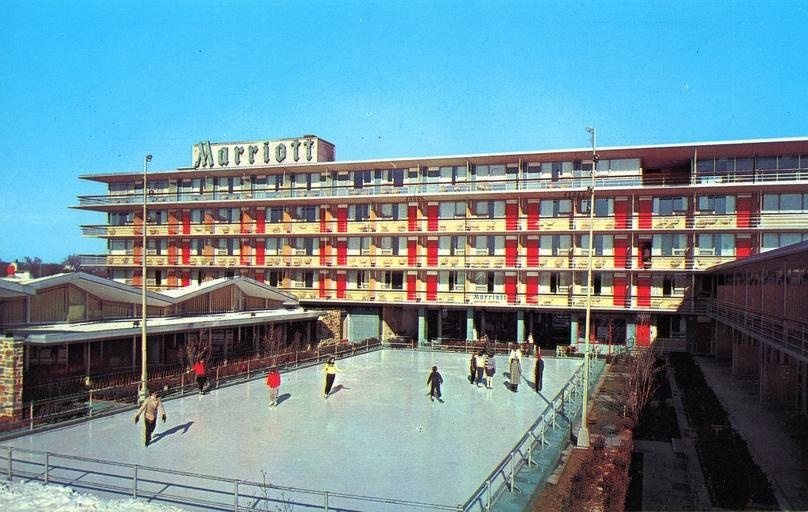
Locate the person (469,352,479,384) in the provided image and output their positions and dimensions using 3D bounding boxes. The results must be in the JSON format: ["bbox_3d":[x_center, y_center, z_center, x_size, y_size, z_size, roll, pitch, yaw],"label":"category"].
[{"bbox_3d":[5.111,8.264,56.275,0.637,1.790,1.574,-2,0,6],"label":"person"}]

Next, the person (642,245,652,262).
[{"bbox_3d":[22.359,-0.230,70.832,0.856,1.077,0.635,-2,0,21],"label":"person"}]
